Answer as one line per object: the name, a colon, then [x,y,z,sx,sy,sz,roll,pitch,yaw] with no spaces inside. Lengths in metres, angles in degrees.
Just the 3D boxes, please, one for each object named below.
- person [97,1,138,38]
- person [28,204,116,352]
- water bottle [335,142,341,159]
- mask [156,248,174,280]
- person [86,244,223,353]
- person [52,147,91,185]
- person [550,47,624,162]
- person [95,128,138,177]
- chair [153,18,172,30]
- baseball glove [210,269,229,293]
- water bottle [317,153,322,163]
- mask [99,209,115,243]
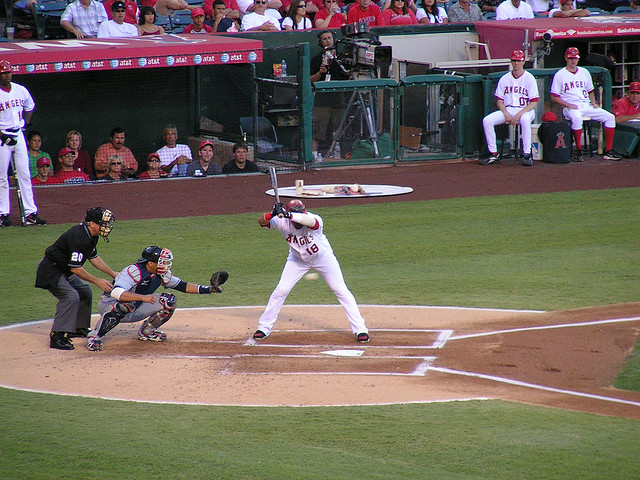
person: [-4.137,-4.518,21.256,0.803,0.716,0.536,-3,9,-8]
person: [-3.017,0.502,13.045,0.900,1.810,0.455,1,10,20]
water bottle: [0.355,-1.842,21.291,0.115,0.340,0.122,-2,9,0]
mask: [-1.959,0.293,13.109,0.206,0.408,0.410,-3,8,-8]
person: [-2.151,0.738,13.322,1.818,1.097,1.045,0,1,-43]
person: [-4.774,-1.409,20.100,1.050,0.596,0.504,-4,-1,-36]
person: [5.365,-2.776,21.246,1.321,2.318,0.669,-1,9,8]
person: [-3.968,-1.742,20.452,0.496,0.900,0.799,5,11,41]
chair: [-3.462,-4.787,22.829,0.615,0.199,0.668,-1,10,-7]
baseball glove: [-1.273,0.512,12.960,0.169,0.302,0.151,43,-26,-28]
water bottle: [0.000,-1.687,21.272,0.067,0.179,0.135,7,12,44]
mask: [-2.690,-0.180,13.125,0.178,0.435,0.580,-4,8,-12]
